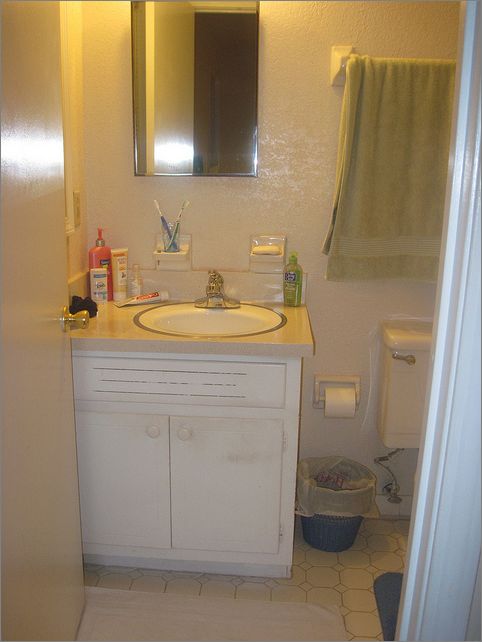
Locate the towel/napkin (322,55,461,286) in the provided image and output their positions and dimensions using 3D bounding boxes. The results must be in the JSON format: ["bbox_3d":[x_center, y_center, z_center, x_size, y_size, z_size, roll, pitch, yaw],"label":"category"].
[{"bbox_3d":[0.487,-0.466,1.760,0.435,0.657,0.179,3,6,6],"label":"towel/napkin"}]

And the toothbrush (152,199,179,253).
[{"bbox_3d":[-0.275,-0.327,1.955,0.064,0.232,0.023,-26,-19,31],"label":"toothbrush"}]

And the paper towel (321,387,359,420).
[{"bbox_3d":[0.349,0.298,1.901,0.114,0.129,0.108,3,12,10],"label":"paper towel"}]

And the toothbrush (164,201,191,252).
[{"bbox_3d":[-0.229,-0.340,1.942,0.058,0.178,0.089,5,12,19],"label":"toothbrush"}]

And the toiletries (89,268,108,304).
[{"bbox_3d":[-0.505,-0.125,1.908,0.063,0.127,0.080,-1,12,-11],"label":"toiletries"}]

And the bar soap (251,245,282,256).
[{"bbox_3d":[0.090,-0.248,1.908,0.084,0.031,0.045,-1,32,1],"label":"bar soap"}]

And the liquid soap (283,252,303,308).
[{"bbox_3d":[0.187,-0.147,1.931,0.068,0.194,0.100,3,12,8],"label":"liquid soap"}]

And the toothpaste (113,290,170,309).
[{"bbox_3d":[-0.349,-0.076,1.923,0.197,0.057,0.069,-10,55,-15],"label":"toothpaste"}]

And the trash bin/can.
[{"bbox_3d":[0.325,0.631,1.893,0.269,0.267,0.309,0,-18,2],"label":"trash bin/can"}]

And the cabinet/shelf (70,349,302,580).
[{"bbox_3d":[-0.187,0.380,1.811,0.659,0.720,0.413,2,16,3],"label":"cabinet/shelf"}]
